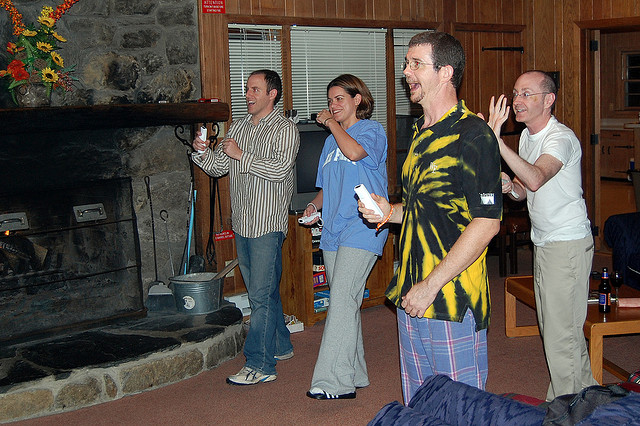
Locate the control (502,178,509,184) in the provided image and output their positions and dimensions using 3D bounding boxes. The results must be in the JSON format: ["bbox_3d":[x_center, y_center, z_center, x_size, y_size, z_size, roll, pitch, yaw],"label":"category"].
[{"bbox_3d":[1.031,-0.178,2.636,0.036,0.028,0.021,7,13,38],"label":"control"}]

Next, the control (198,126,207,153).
[{"bbox_3d":[-0.952,-0.582,3.784,0.060,0.200,0.161,-5,11,-19],"label":"control"}]

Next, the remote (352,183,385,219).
[{"bbox_3d":[0.224,-0.071,2.164,0.091,0.172,0.036,-31,9,47],"label":"remote"}]

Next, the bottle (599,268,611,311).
[{"bbox_3d":[2.178,0.574,3.610,0.079,0.288,0.229,5,12,32],"label":"bottle"}]

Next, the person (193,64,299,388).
[{"bbox_3d":[-0.452,0.098,3.747,0.578,2.414,0.608,-2,10,-3],"label":"person"}]

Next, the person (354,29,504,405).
[{"bbox_3d":[0.496,0.071,2.095,0.567,1.707,0.418,3,10,23],"label":"person"}]

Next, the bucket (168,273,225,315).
[{"bbox_3d":[-1.146,0.739,4.399,0.459,0.324,0.295,-4,11,-12],"label":"bucket"}]

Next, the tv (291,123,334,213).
[{"bbox_3d":[0.012,-0.470,4.995,0.532,0.857,0.576,4,-3,42],"label":"tv"}]

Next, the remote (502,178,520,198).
[{"bbox_3d":[1.161,-0.154,2.873,0.116,0.149,0.045,-20,15,-36],"label":"remote"}]

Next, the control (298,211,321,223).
[{"bbox_3d":[-0.086,0.037,3.708,0.077,0.041,0.145,4,13,38],"label":"control"}]

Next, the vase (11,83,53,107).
[{"bbox_3d":[-2.339,-0.964,3.855,0.229,0.170,0.218,2,4,42],"label":"vase"}]
